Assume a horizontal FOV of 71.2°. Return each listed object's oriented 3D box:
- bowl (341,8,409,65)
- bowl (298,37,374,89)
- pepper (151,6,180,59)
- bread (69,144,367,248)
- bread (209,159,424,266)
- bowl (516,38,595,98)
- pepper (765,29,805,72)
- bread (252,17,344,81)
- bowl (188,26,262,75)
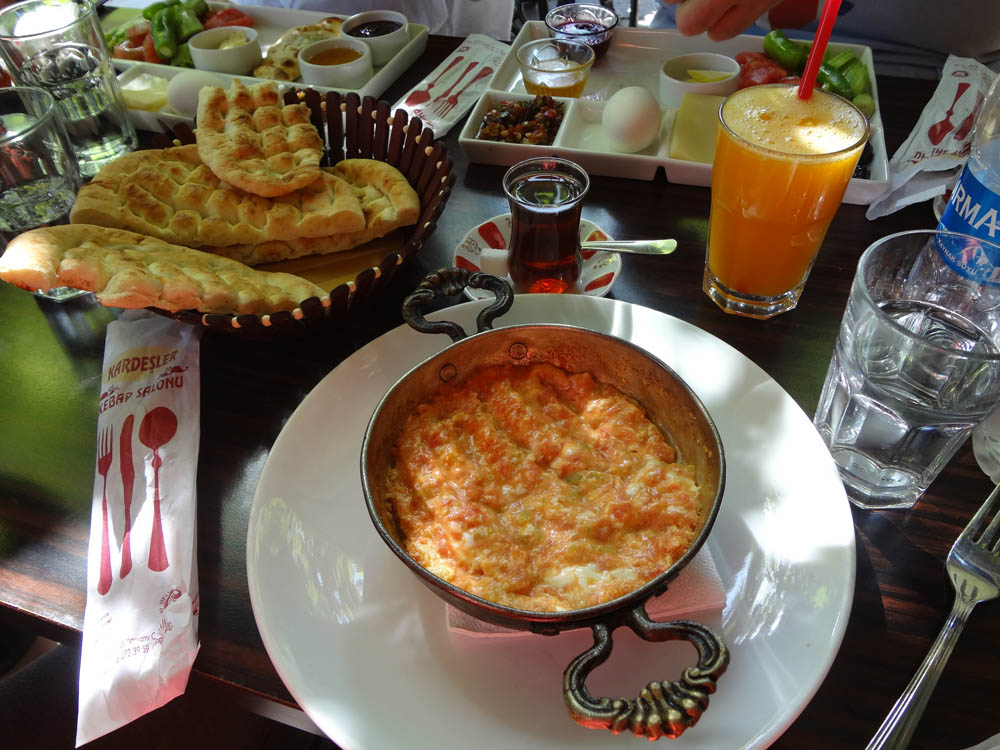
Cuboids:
[{"bbox_3d":[-0.399,-1.149,2.312,0.223,0.135,0.222,-1,48,1],"label":"bowl"},{"bbox_3d":[-0.503,-1.024,2.223,0.240,0.121,0.241,-5,36,3],"label":"bowl"},{"bbox_3d":[-1.093,-1.149,2.312,0.089,0.065,0.180,-23,51,3],"label":"pepper"},{"bbox_3d":[-0.622,-0.371,1.572,0.534,0.086,0.276,2,47,-11],"label":"bread"},{"bbox_3d":[-0.404,-0.324,1.610,0.429,0.078,0.248,-18,41,-17],"label":"bread"},{"bbox_3d":[0.170,-0.936,2.140,0.223,0.111,0.217,-2,46,2],"label":"bowl"},{"bbox_3d":[0.844,-0.964,2.084,0.087,0.062,0.166,-24,41,22],"label":"pepper"},{"bbox_3d":[-0.674,-1.085,2.319,0.184,0.067,0.323,12,55,17],"label":"bread"},{"bbox_3d":[-0.930,-1.042,2.292,0.186,0.104,0.183,-12,20,4],"label":"bowl"}]
